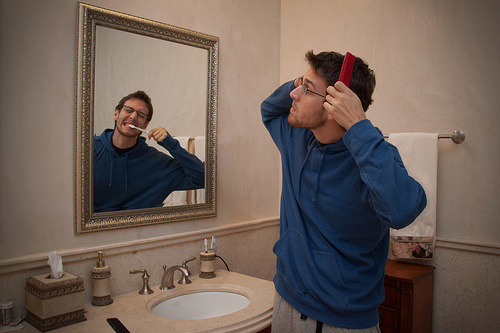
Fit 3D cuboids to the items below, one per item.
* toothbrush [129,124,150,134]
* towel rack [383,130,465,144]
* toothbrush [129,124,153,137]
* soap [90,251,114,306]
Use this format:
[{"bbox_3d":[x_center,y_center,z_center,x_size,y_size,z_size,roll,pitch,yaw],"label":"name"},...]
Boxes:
[{"bbox_3d":[-0.674,-0.222,2.386,0.096,0.014,0.014,30,-50,-23],"label":"toothbrush"},{"bbox_3d":[1.204,-0.187,2.584,0.274,0.058,0.054,0,9,28],"label":"towel rack"},{"bbox_3d":[-0.668,-0.214,2.391,0.155,0.018,0.016,30,-29,-34],"label":"toothbrush"},{"bbox_3d":[-0.831,0.617,2.219,0.117,0.287,0.082,-2,9,-7],"label":"soap"}]
